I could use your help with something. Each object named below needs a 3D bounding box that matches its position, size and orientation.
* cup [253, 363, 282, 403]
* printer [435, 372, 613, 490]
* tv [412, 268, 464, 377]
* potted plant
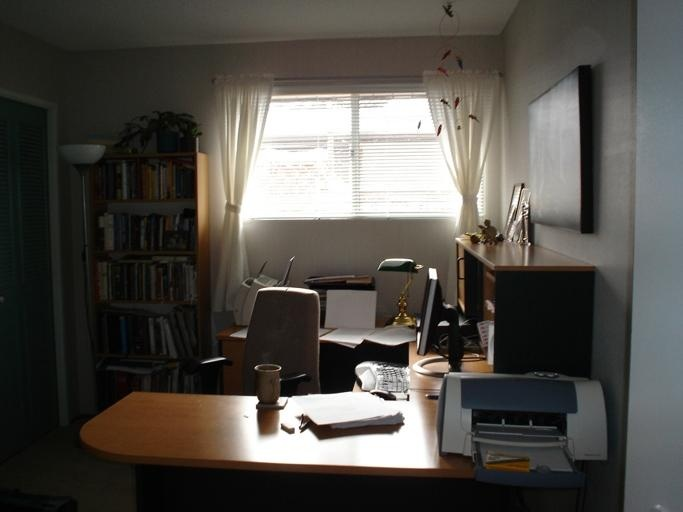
[{"bbox_3d":[-0.341,0.602,2.671,0.127,0.171,0.126,3,4,0],"label":"cup"},{"bbox_3d":[0.756,0.662,2.490,0.688,0.385,0.692,1,2,3],"label":"printer"},{"bbox_3d":[0.556,0.370,3.094,0.215,0.511,0.547,3,1,12],"label":"tv"},{"bbox_3d":[-1.400,-0.956,4.362,0.641,0.324,0.472,-3,10,-13],"label":"potted plant"}]
